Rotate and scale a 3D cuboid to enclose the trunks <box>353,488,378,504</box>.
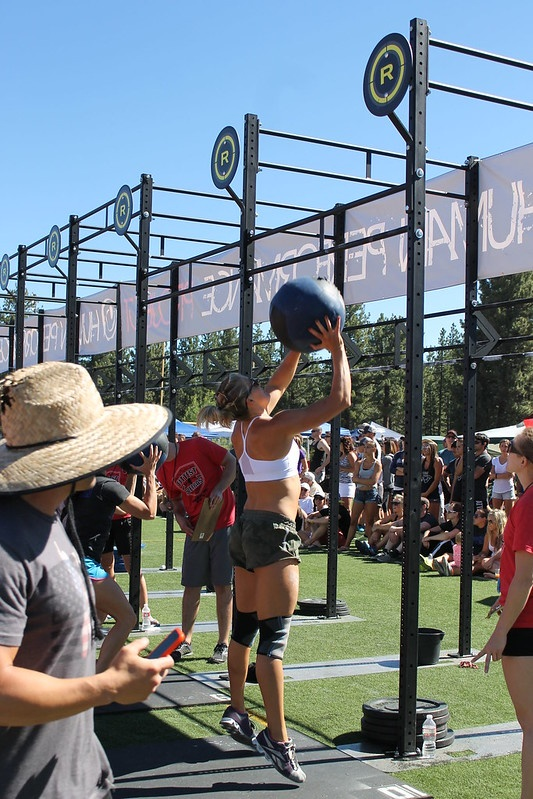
[{"bbox_3d":[1.405,1.375,14.255,0.283,0.224,0.219,-1,-10,12],"label":"trunks"}]

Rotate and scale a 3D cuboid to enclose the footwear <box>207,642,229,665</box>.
[{"bbox_3d":[-0.324,1.729,6.980,0.130,0.160,0.383,1,-6,7],"label":"footwear"}]

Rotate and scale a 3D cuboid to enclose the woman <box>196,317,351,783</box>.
[{"bbox_3d":[0.039,0.674,4.731,0.543,2.068,1.045,1,-2,-9],"label":"woman"}]

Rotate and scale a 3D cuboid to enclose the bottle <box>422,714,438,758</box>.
[{"bbox_3d":[0.796,1.652,4.947,0.069,0.178,0.119,0,-2,9],"label":"bottle"}]

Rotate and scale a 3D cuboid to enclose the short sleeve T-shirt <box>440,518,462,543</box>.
[{"bbox_3d":[2.217,1.590,12.277,0.237,0.311,0.750,1,-2,7],"label":"short sleeve T-shirt"}]

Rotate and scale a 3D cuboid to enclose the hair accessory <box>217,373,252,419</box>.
[{"bbox_3d":[-0.155,-0.009,4.851,0.152,0.219,0.172,10,32,24],"label":"hair accessory"}]

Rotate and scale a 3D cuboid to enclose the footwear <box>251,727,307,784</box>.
[{"bbox_3d":[0.059,1.560,4.425,0.206,0.231,0.102,1,-2,0],"label":"footwear"}]

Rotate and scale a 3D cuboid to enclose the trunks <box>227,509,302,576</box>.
[{"bbox_3d":[-0.007,0.651,4.657,0.260,0.293,0.386,1,-6,-33],"label":"trunks"}]

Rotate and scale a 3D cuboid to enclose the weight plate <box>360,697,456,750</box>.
[{"bbox_3d":[0.715,1.642,5.156,0.476,0.208,0.424,1,-2,-7],"label":"weight plate"}]

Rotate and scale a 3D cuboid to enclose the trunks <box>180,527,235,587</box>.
[{"bbox_3d":[-0.398,1.026,6.917,0.334,0.504,0.262,7,7,8],"label":"trunks"}]

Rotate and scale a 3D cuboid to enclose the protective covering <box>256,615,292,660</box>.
[{"bbox_3d":[0.027,1.052,4.473,0.138,0.177,0.214,1,-2,0],"label":"protective covering"}]

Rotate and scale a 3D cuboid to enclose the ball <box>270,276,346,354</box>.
[{"bbox_3d":[0.249,-0.376,4.797,0.297,0.369,0.311,1,-13,0],"label":"ball"}]

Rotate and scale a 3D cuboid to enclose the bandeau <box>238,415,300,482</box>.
[{"bbox_3d":[0.019,0.211,4.738,0.250,0.312,0.279,-5,2,-13],"label":"bandeau"}]

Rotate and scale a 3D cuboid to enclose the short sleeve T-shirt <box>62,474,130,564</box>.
[{"bbox_3d":[-0.912,0.676,5.601,0.270,0.517,0.322,10,-3,-38],"label":"short sleeve T-shirt"}]

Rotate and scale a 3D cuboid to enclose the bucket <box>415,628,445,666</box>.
[{"bbox_3d":[1.088,1.655,6.716,0.150,0.291,0.516,0,-2,9],"label":"bucket"}]
